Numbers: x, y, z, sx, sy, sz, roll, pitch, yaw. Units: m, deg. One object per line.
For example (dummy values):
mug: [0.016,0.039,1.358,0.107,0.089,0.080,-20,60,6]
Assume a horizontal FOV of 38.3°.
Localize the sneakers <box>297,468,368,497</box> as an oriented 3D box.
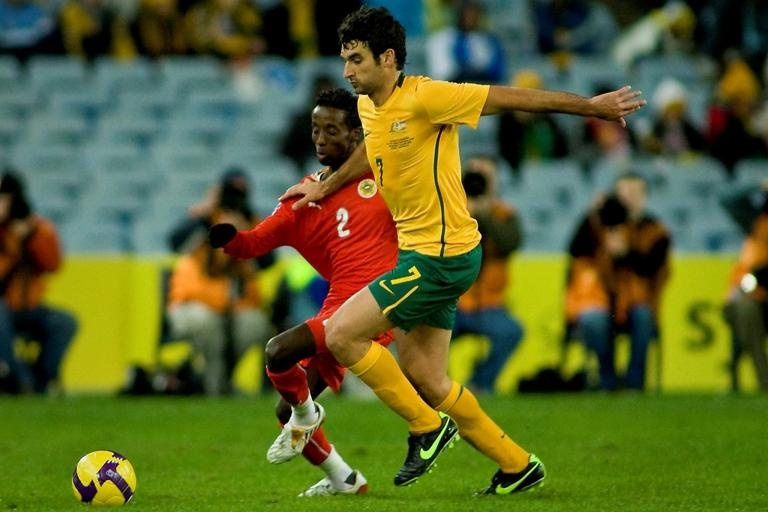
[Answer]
sneakers: [-0.464,2.103,10.282,0.637,0.266,0.245,-2,-11,-7]
